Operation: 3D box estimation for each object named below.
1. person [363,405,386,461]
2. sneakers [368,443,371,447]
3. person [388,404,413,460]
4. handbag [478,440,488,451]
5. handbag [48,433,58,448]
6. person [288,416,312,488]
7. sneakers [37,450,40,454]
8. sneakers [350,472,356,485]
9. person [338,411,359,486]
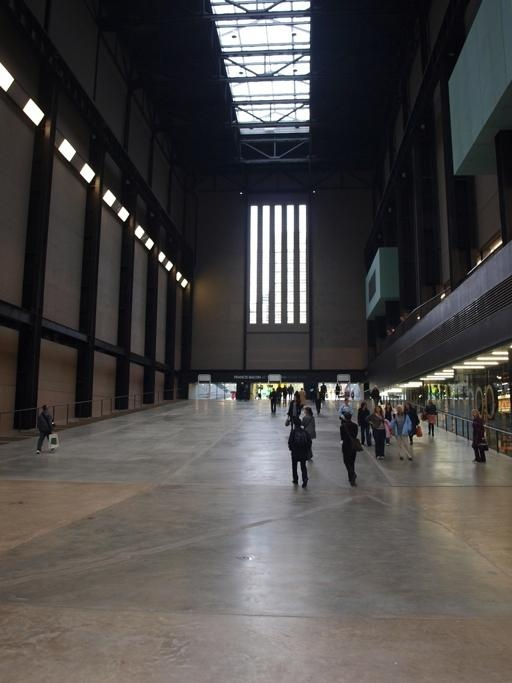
[{"bbox_3d":[3.902,2.869,14.875,0.411,1.838,0.472,-4,8,-1],"label":"person"},{"bbox_3d":[4.186,3.817,17.401,0.060,0.148,0.116,-1,-11,0],"label":"sneakers"},{"bbox_3d":[4.484,2.814,14.530,0.620,1.632,1.598,-2,-7,19],"label":"person"},{"bbox_3d":[6.795,3.096,14.079,0.278,0.404,0.318,1,-3,31],"label":"handbag"},{"bbox_3d":[-6.793,3.345,15.776,0.287,0.509,0.547,3,-8,-30],"label":"handbag"},{"bbox_3d":[1.070,2.651,11.565,0.511,1.553,1.809,-1,-7,6],"label":"person"},{"bbox_3d":[-7.124,3.598,15.372,0.041,0.082,0.181,0,-35,-10],"label":"sneakers"},{"bbox_3d":[2.267,3.219,11.035,0.058,0.286,0.155,0,-3,-6],"label":"sneakers"},{"bbox_3d":[2.277,2.552,11.386,0.423,1.673,1.538,-1,-7,10],"label":"person"}]
